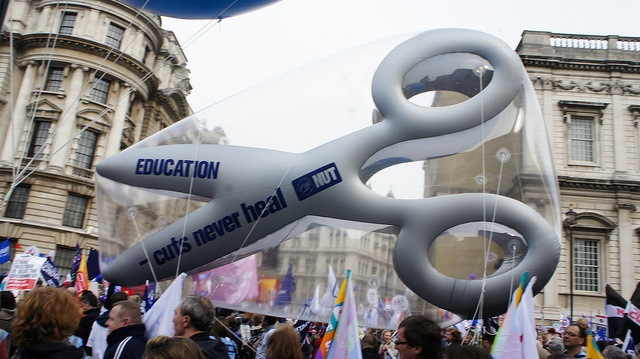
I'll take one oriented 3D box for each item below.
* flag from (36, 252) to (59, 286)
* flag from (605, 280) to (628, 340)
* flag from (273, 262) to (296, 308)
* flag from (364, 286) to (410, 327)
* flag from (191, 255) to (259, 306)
[{"bbox_3d":[-11.366,3.782,26.067,0.928,1.238,0.567,9,-20,-10],"label":"flag"},{"bbox_3d":[12.488,5.474,26.143,0.955,1.945,0.679,1,2,3],"label":"flag"},{"bbox_3d":[-1.237,3.791,22.539,0.622,1.513,0.387,-11,-27,40],"label":"flag"},{"bbox_3d":[2.356,4.577,22.334,1.567,1.351,0.371,4,-20,2],"label":"flag"},{"bbox_3d":[-3.132,3.688,23.137,2.260,1.728,2.662,-8,-1,33],"label":"flag"}]
